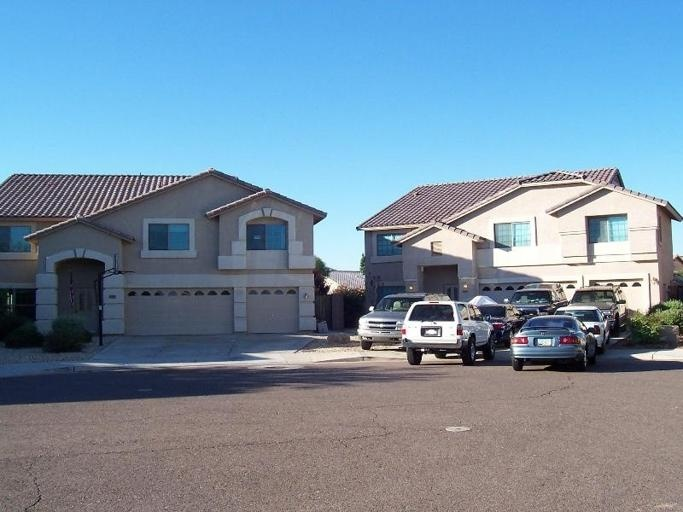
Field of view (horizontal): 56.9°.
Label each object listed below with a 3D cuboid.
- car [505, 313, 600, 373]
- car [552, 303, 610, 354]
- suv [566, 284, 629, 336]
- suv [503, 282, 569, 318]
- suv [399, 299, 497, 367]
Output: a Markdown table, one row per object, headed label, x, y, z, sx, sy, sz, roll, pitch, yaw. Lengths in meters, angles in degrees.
| label | x | y | z | sx | sy | sz | roll | pitch | yaw |
| --- | --- | --- | --- | --- | --- | --- | --- | --- | --- |
| car | 6.431 | 2.551 | 18.734 | 2.812 | 1.596 | 1.787 | 5 | -8 | -44 |
| car | 9.161 | 2.617 | 23.446 | 1.322 | 1.018 | 3.019 | -1 | 2 | 18 |
| suv | 11.836 | 2.234 | 28.810 | 1.691 | 1.416 | 3.287 | -3 | -8 | 26 |
| suv | 9.294 | 2.034 | 29.838 | 1.492 | 1.372 | 2.590 | -6 | -9 | 34 |
| suv | 3.758 | 2.490 | 21.328 | 1.622 | 1.497 | 3.245 | -2 | -1 | 23 |
